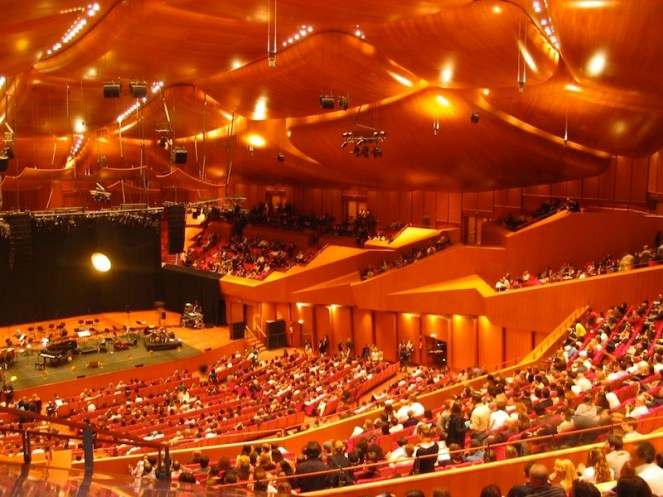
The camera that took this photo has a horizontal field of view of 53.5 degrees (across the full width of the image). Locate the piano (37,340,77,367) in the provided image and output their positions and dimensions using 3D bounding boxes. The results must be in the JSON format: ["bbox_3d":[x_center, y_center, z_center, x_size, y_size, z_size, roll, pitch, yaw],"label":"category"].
[{"bbox_3d":[-10.247,3.971,25.198,0.620,0.429,1.208,6,18,16],"label":"piano"}]
